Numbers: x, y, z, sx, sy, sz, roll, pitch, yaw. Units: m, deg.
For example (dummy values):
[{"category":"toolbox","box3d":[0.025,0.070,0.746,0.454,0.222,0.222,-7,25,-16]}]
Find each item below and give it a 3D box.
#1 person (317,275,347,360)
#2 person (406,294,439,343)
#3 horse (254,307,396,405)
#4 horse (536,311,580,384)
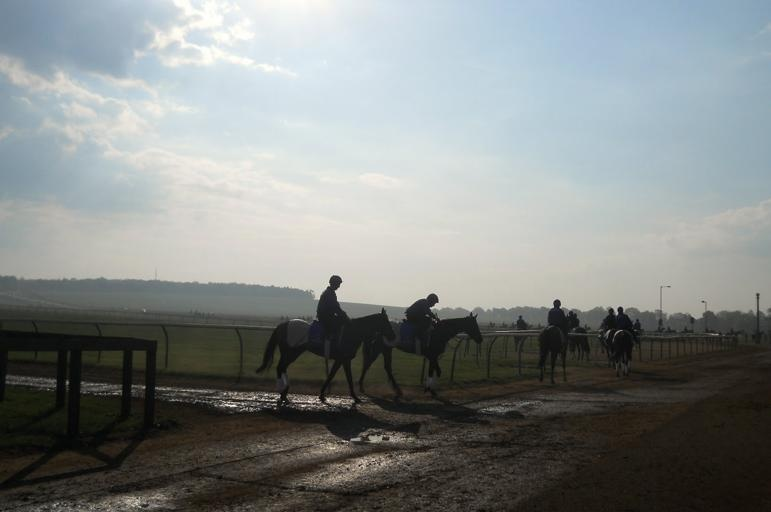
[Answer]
[{"category":"person","box3d":[-1.649,1.885,17.928,0.639,2.538,0.814,-2,-8,35]},{"category":"person","box3d":[1.290,2.050,19.432,1.093,1.611,1.444,3,-6,-8]},{"category":"horse","box3d":[-1.830,2.976,18.318,3.730,2.754,2.693,4,-6,-18]},{"category":"horse","box3d":[7.001,3.170,24.068,1.041,3.241,4.761,2,2,21]}]
